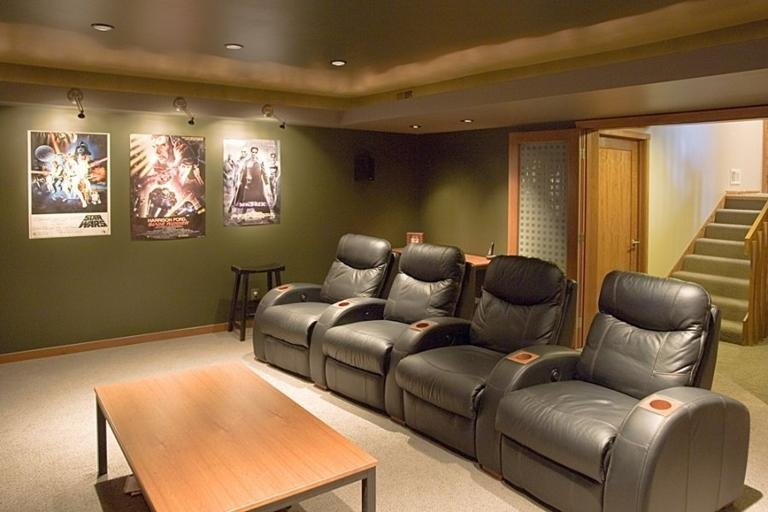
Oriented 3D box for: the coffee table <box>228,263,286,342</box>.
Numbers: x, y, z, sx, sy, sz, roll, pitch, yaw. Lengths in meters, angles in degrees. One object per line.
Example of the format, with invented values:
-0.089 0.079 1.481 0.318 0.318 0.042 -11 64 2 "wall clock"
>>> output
-1.637 0.594 6.461 0.677 0.898 0.548 -2 5 -30 "coffee table"
